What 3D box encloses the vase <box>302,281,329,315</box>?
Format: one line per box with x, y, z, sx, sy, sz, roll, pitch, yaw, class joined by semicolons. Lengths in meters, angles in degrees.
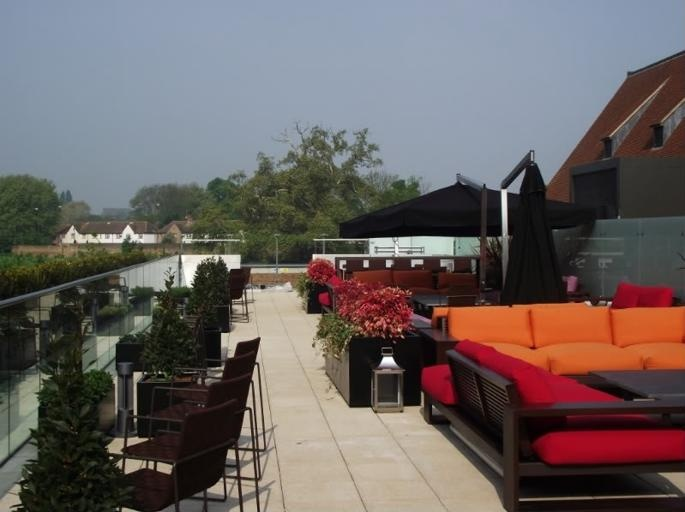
-0.636;0.976;14.269;0.534;0.763;1.039;1;-2;-3;vase

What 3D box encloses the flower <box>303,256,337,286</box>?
-0.378;0.337;14.046;0.566;0.643;0.594;-1;5;44;flower
